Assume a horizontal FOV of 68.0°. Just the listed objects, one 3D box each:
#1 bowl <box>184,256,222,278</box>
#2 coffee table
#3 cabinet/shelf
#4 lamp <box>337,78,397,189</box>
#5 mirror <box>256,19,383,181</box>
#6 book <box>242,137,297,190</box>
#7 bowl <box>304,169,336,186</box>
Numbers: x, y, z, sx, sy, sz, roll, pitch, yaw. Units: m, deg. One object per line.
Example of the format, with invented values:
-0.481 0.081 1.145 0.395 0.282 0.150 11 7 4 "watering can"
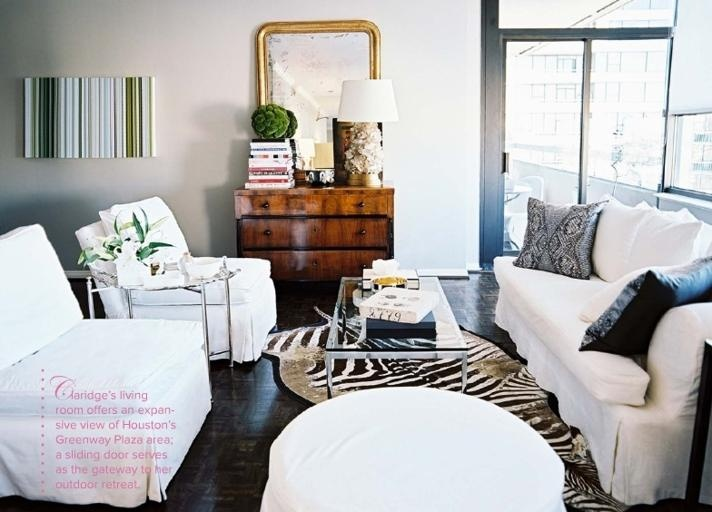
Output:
-0.852 0.061 2.997 0.147 0.067 0.147 0 1 0 "bowl"
0.212 0.388 2.854 0.666 0.434 0.897 -1 13 3 "coffee table"
-0.379 -0.238 4.898 1.387 0.927 0.515 -1 22 -9 "cabinet/shelf"
0.103 -1.072 4.625 0.473 0.919 0.618 -2 13 -1 "lamp"
-0.364 -1.702 5.160 1.063 0.056 1.277 -4 -29 -6 "mirror"
-0.710 -0.794 4.814 0.560 0.543 0.409 1 7 1 "book"
-0.329 -0.738 4.965 0.182 0.100 0.195 -1 2 0 "bowl"
